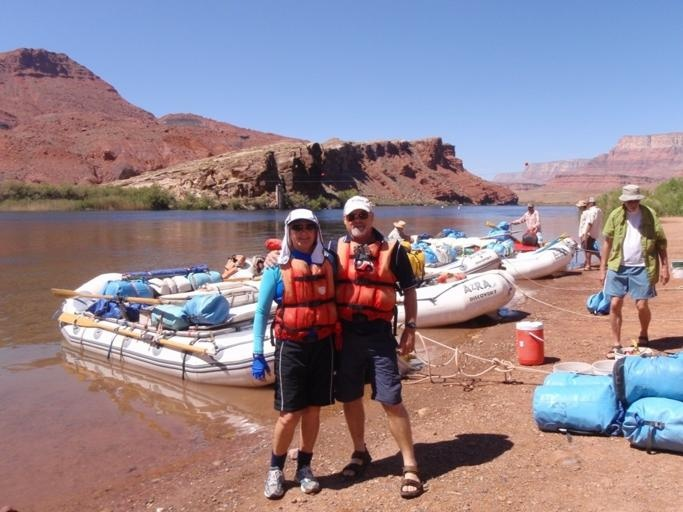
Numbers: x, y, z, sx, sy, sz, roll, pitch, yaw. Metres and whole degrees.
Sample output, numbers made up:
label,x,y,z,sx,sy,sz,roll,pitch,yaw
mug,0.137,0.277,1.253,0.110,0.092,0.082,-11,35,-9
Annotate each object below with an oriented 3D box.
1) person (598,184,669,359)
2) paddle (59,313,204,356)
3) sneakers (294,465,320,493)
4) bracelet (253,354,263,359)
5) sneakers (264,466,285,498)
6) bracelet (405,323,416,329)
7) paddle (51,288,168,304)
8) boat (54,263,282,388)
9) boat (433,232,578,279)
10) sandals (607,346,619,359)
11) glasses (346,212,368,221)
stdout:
label,x,y,z,sx,sy,sz,roll,pitch,yaw
person,3.544,0.162,6.752,0.924,2.072,0.632,-15,9,9
paddle,-3.249,1.248,8.819,3.616,0.321,0.365,7,38,34
sneakers,-0.294,1.964,4.843,0.144,0.105,0.289,2,-8,-25
bracelet,-0.709,0.849,4.736,0.059,0.012,0.053,-2,-4,32
sneakers,-0.567,1.994,4.830,0.166,0.121,0.320,2,-7,-5
bracelet,0.607,0.603,4.820,0.089,0.048,0.089,-3,-4,24
paddle,-3.970,0.695,9.720,2.155,0.163,0.165,4,21,21
boat,-2.860,1.149,9.076,2.505,1.478,4.215,-15,8,-32
boat,4.212,0.005,14.105,3.122,0.786,1.435,-3,15,34
sandals,3.288,1.164,6.710,0.117,0.117,0.341,-30,-29,27
glasses,0.143,-0.344,4.783,0.125,0.088,0.033,-7,11,6
